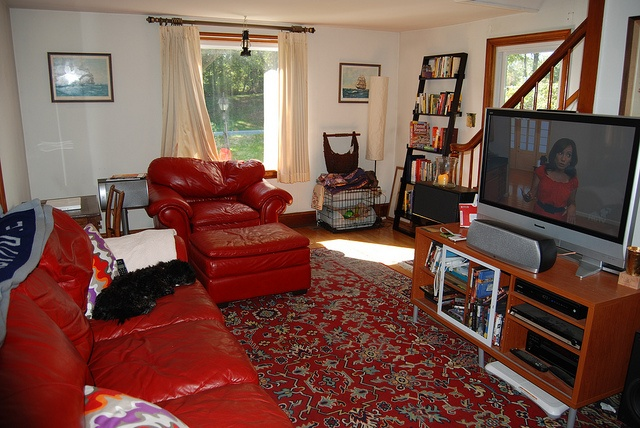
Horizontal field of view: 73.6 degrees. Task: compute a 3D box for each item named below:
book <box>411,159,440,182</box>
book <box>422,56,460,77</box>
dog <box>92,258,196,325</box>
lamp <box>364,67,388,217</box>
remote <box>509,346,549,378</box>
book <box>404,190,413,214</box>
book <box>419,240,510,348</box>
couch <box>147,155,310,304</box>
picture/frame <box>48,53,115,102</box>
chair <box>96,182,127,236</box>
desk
[{"bbox_3d":[1.406,-0.633,5.733,0.293,0.372,0.393,2,10,10],"label":"book"},{"bbox_3d":[1.566,-1.930,5.597,0.115,0.281,0.529,-14,23,-34],"label":"book"},{"bbox_3d":[-1.183,0.508,2.930,0.290,0.163,0.472,7,12,35],"label":"dog"},{"bbox_3d":[0.792,-1.339,6.021,0.264,1.126,0.271,1,19,5],"label":"lamp"},{"bbox_3d":[1.465,1.027,2.997,0.093,0.026,0.187,-6,21,-28],"label":"remote"},{"bbox_3d":[1.228,-0.158,5.962,0.127,0.235,0.241,2,32,0],"label":"book"},{"bbox_3d":[1.143,0.630,3.328,0.267,0.645,0.752,-5,19,-24],"label":"book"},{"bbox_3d":[-1.073,0.035,4.846,1.615,1.111,2.130,-9,21,-31],"label":"couch"},{"bbox_3d":[-2.892,-1.654,5.115,0.601,0.486,0.057,-5,13,-27],"label":"picture/frame"},{"bbox_3d":[-2.097,-0.066,4.311,0.277,0.676,0.251,-7,45,-27],"label":"chair"},{"bbox_3d":[-2.398,-0.070,4.087,0.524,0.482,0.511,-7,19,-25],"label":"desk"}]
